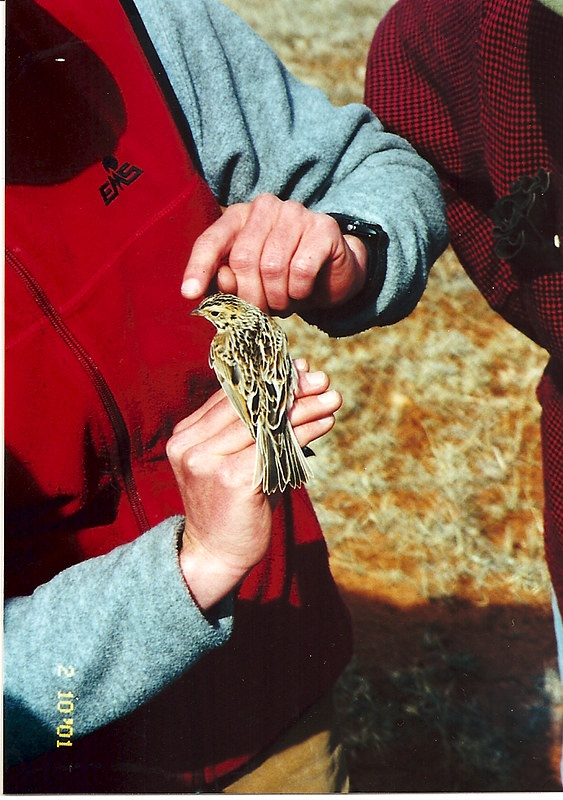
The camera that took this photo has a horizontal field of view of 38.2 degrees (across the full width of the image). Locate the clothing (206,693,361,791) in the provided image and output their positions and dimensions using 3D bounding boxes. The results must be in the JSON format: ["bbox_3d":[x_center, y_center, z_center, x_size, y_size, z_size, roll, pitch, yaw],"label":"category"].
[{"bbox_3d":[0.017,0.918,2.083,0.276,0.304,0.070,-25,73,29],"label":"clothing"}]

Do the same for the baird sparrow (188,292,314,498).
[{"bbox_3d":[-0.053,-0.056,1.688,0.171,0.190,0.463,-15,70,1],"label":"baird sparrow"}]
